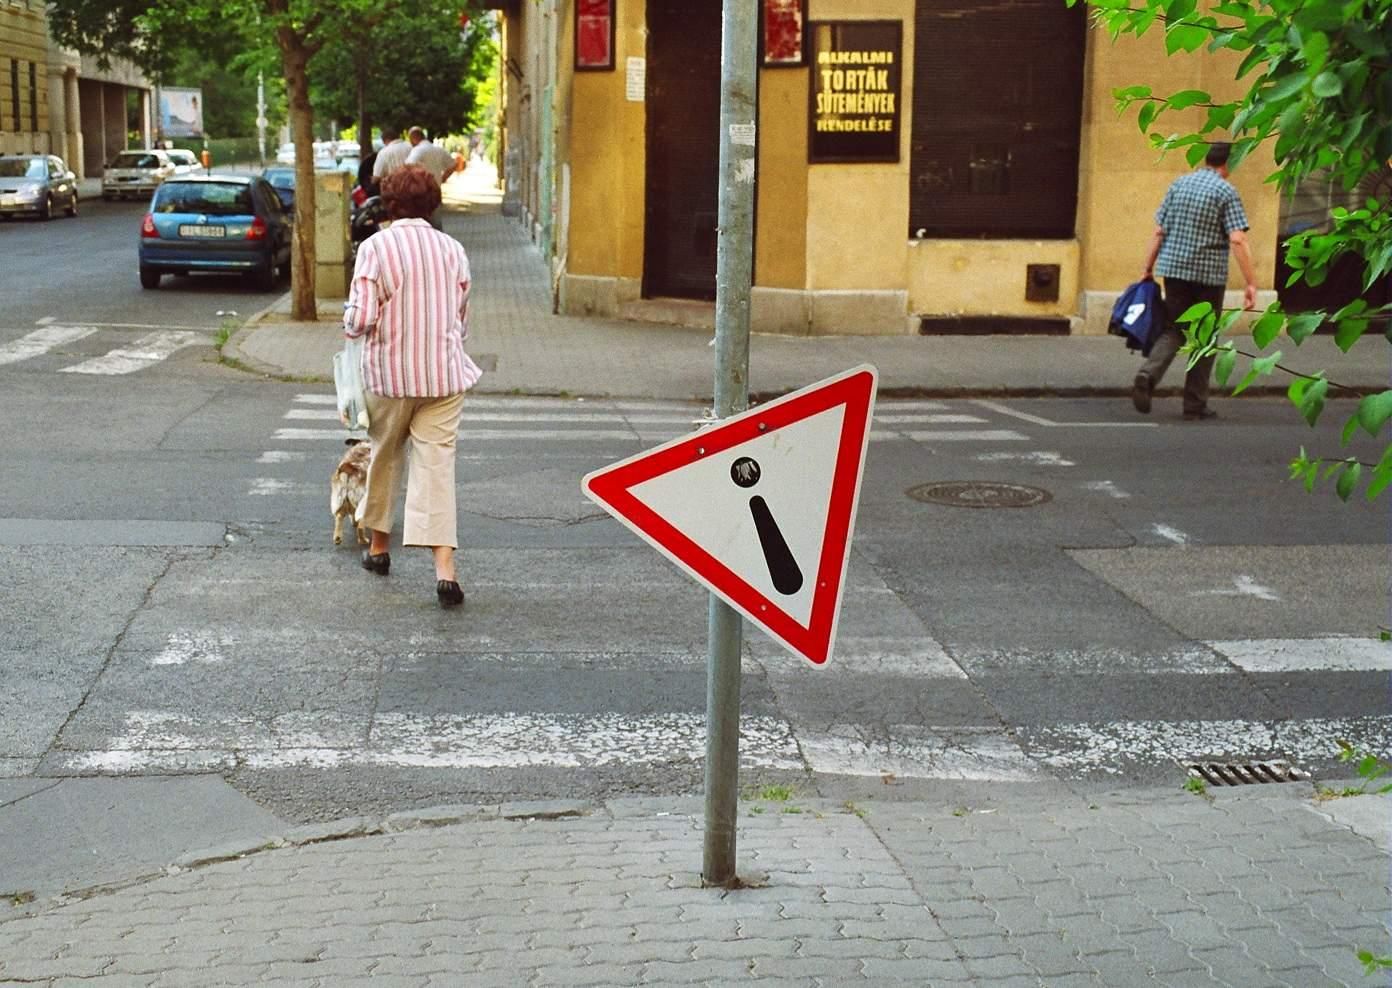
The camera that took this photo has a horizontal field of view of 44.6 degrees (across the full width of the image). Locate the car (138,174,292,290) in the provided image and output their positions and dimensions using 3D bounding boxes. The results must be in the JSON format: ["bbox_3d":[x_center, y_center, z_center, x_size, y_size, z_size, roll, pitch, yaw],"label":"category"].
[{"bbox_3d":[-7.267,-4.031,26.068,1.487,1.219,2.643,-1,15,-5],"label":"car"}]

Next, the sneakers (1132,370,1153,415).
[{"bbox_3d":[4.013,-0.929,15.270,0.138,0.419,0.179,7,47,32],"label":"sneakers"}]

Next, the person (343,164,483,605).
[{"bbox_3d":[-1.561,-0.616,9.582,0.840,2.389,0.663,9,17,28],"label":"person"}]
